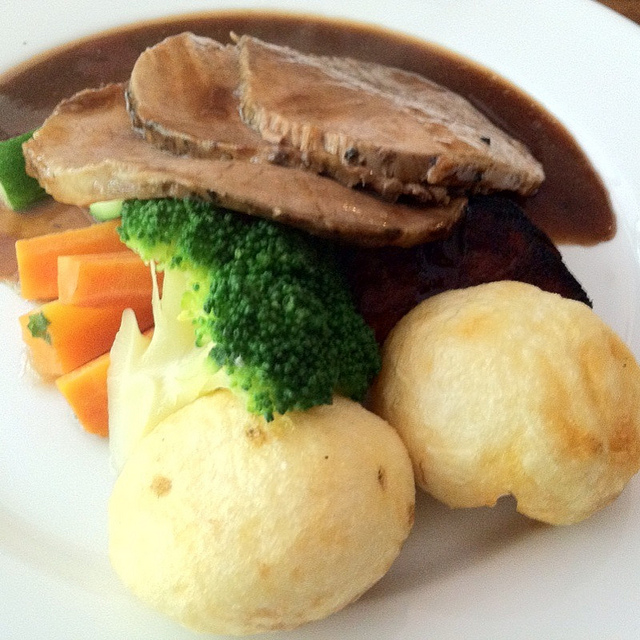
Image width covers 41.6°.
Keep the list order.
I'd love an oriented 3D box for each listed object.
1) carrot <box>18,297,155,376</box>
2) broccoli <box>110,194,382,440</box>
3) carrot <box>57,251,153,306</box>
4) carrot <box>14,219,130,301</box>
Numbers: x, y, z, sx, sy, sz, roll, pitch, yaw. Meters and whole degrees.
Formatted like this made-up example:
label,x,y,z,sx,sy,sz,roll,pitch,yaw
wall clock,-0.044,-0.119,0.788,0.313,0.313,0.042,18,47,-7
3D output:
label,x,y,z,sx,sy,sz,roll,pitch,yaw
carrot,-0.520,0.035,1.929,0.178,0.091,0.139,-29,39,-31
broccoli,-0.162,-0.024,1.717,0.575,0.232,0.503,0,72,9
carrot,-0.490,-0.091,1.919,0.241,0.125,0.168,-6,26,-17
carrot,-0.595,-0.119,1.981,0.329,0.082,0.177,-13,88,-7
